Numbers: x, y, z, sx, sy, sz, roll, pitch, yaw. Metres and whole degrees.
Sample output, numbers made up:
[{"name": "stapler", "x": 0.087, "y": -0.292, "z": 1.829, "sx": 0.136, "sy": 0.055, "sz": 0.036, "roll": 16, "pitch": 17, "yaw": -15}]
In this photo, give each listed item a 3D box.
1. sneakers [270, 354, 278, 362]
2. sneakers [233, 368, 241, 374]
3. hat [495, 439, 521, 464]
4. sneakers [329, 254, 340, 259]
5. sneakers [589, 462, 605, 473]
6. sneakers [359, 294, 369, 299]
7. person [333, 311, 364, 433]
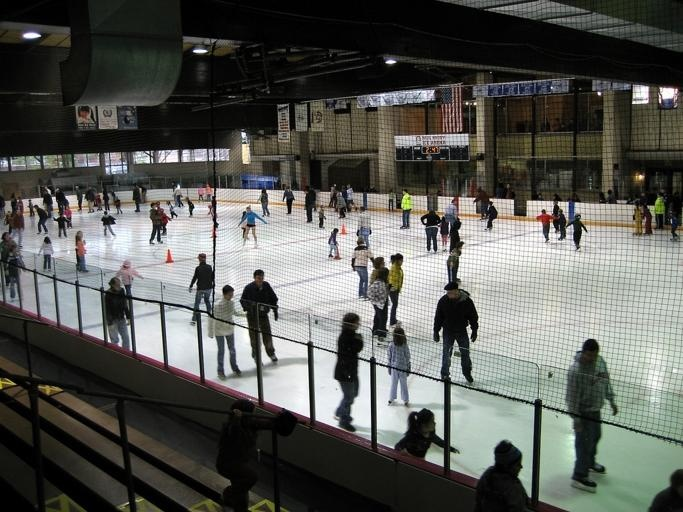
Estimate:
[{"name": "sneakers", "x": -0.959, "y": 1.439, "z": 8.285, "sx": 0.058, "sy": 0.074, "sz": 0.173, "roll": -4, "pitch": 17, "yaw": -16}, {"name": "sneakers", "x": -1.566, "y": 1.721, "z": 8.753, "sx": 0.125, "sy": 0.122, "sz": 0.072, "roll": 1, "pitch": 4, "yaw": 14}, {"name": "hat", "x": 1.591, "y": 1.875, "z": 5.693, "sx": 0.239, "sy": 0.175, "sz": 0.178, "roll": -19, "pitch": 17, "yaw": 12}, {"name": "sneakers", "x": -0.250, "y": 0.023, "z": 19.886, "sx": 0.323, "sy": 0.168, "sz": 0.139, "roll": 1, "pitch": 15, "yaw": 2}, {"name": "sneakers", "x": 2.505, "y": 2.061, "z": 5.732, "sx": 0.150, "sy": 0.103, "sz": 0.053, "roll": -10, "pitch": -4, "yaw": 44}, {"name": "sneakers", "x": 0.504, "y": 0.947, "z": 14.290, "sx": 0.188, "sy": 0.096, "sz": 0.246, "roll": 2, "pitch": 6, "yaw": 11}, {"name": "person", "x": 0.104, "y": 1.566, "z": 7.943, "sx": 0.391, "sy": 1.283, "sz": 1.025, "roll": -1, "pitch": 10, "yaw": 2}]
